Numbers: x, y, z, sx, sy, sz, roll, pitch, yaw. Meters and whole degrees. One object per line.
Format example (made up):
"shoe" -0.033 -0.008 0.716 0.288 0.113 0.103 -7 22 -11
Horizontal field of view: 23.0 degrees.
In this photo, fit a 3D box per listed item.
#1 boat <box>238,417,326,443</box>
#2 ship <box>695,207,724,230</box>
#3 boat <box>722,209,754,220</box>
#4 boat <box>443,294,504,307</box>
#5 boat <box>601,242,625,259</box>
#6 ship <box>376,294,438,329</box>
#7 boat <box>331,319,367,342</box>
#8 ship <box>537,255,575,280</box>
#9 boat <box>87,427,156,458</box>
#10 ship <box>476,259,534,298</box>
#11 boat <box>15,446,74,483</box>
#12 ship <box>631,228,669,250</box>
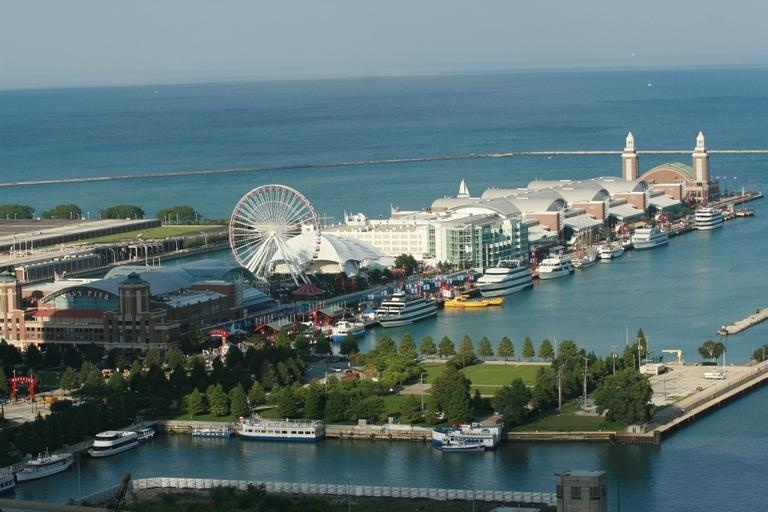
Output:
"boat" -2.104 3.462 37.792 1.388 0.374 0.636 0 4 14
"ship" 9.899 -1.124 57.437 0.845 0.692 1.165 1 10 8
"boat" 11.170 -1.302 59.373 0.367 0.256 2.424 4 8 30
"boat" 2.204 1.128 47.027 1.484 0.167 1.240 1 10 4
"boat" 6.372 -0.145 53.058 0.344 0.232 0.946 5 10 25
"ship" 0.506 1.305 45.143 0.667 0.525 1.518 8 13 40
"boat" -0.844 1.711 43.743 0.351 0.378 0.965 3 8 26
"ship" 4.583 0.282 50.134 0.568 0.387 0.911 6 14 28
"boat" -5.213 3.714 37.541 0.441 0.324 1.375 2 4 31
"ship" 3.078 0.569 48.502 0.660 0.854 1.997 7 12 34
"boat" -6.718 4.078 36.538 1.280 0.469 0.408 -7 6 -43
"ship" 7.672 -0.535 54.564 0.444 0.558 1.500 6 10 36
